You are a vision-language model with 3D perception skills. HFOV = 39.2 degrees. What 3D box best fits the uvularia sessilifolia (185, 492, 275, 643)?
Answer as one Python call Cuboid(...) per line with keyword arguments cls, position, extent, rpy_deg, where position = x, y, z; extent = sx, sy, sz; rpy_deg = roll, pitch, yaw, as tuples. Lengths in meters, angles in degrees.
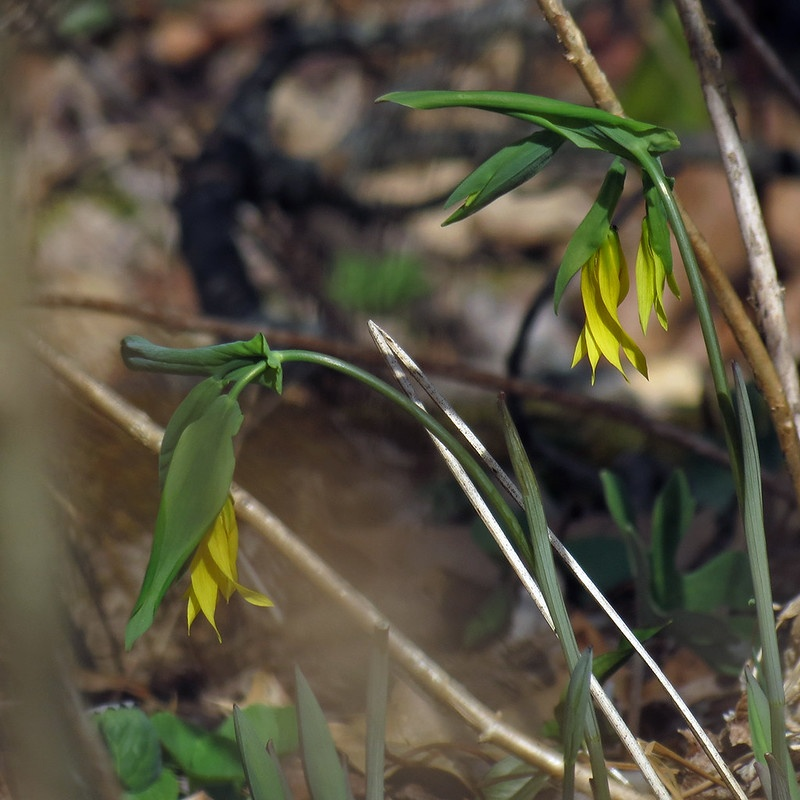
Cuboid(cls="uvularia sessilifolia", position=(-0.095, 0.081, 0.584), extent=(0.051, 0.029, 0.067), rpy_deg=(1, 92, -17))
